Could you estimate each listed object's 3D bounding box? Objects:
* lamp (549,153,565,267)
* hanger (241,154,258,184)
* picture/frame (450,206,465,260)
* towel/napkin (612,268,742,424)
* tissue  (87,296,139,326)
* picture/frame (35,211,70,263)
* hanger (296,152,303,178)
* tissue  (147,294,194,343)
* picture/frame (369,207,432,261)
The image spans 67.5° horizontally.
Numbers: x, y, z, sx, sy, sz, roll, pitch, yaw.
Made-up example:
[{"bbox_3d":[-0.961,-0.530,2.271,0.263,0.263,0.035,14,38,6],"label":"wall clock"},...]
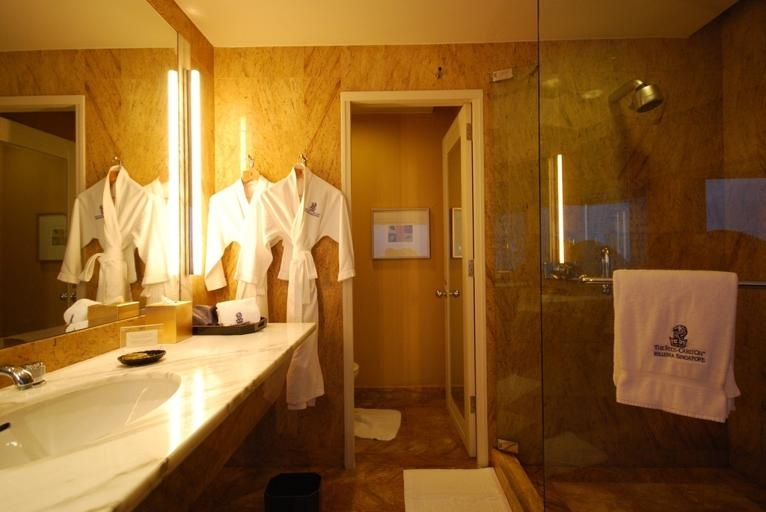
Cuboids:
[{"bbox_3d":[0.934,-0.266,3.083,0.068,0.708,0.071,-6,-31,22],"label":"lamp"},{"bbox_3d":[-0.906,-0.589,3.880,0.093,0.191,0.080,4,12,21],"label":"hanger"},{"bbox_3d":[0.590,-0.177,4.424,0.030,0.391,0.200,-2,3,-30],"label":"picture/frame"},{"bbox_3d":[1.471,0.424,2.805,0.719,0.901,0.283,0,-1,21],"label":"towel/napkin"},{"bbox_3d":[-1.433,0.295,3.010,0.089,0.088,0.291,1,-1,14],"label":"tissue "},{"bbox_3d":[-1.565,-0.088,2.712,0.161,0.232,0.018,-1,-1,-3],"label":"picture/frame"},{"bbox_3d":[-0.564,-0.609,3.877,0.078,0.161,0.109,-2,12,-8],"label":"hanger"},{"bbox_3d":[-1.214,0.381,3.268,0.166,0.214,0.303,-2,-3,-4],"label":"tissue "},{"bbox_3d":[0.136,-0.191,4.996,0.427,0.384,0.035,0,1,1],"label":"picture/frame"}]
